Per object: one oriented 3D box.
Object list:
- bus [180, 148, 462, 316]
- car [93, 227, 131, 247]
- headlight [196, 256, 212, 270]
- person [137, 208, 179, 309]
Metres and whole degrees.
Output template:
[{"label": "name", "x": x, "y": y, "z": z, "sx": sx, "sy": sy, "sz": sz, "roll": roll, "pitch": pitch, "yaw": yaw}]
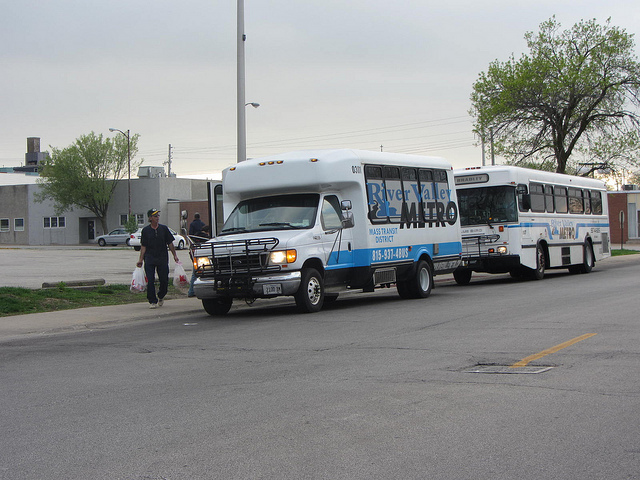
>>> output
[{"label": "bus", "x": 0.138, "y": -0.244, "z": 15.898, "sx": 4.182, "sy": 3.118, "sz": 6.231, "roll": -3, "pitch": -4, "yaw": 36}, {"label": "car", "x": -22.900, "y": -0.351, "z": 67.441, "sx": 4.096, "sy": 1.587, "sz": 2.015, "roll": 2, "pitch": 0, "yaw": 13}, {"label": "headlight", "x": -2.677, "y": 0.514, "z": 13.978, "sx": 0.458, "sy": 0.298, "sz": 0.101, "roll": 0, "pitch": 1, "yaw": 41}, {"label": "person", "x": -4.147, "y": 0.497, "z": 15.478, "sx": 0.788, "sy": 1.692, "sz": 0.538, "roll": -1, "pitch": 1, "yaw": -19}]
